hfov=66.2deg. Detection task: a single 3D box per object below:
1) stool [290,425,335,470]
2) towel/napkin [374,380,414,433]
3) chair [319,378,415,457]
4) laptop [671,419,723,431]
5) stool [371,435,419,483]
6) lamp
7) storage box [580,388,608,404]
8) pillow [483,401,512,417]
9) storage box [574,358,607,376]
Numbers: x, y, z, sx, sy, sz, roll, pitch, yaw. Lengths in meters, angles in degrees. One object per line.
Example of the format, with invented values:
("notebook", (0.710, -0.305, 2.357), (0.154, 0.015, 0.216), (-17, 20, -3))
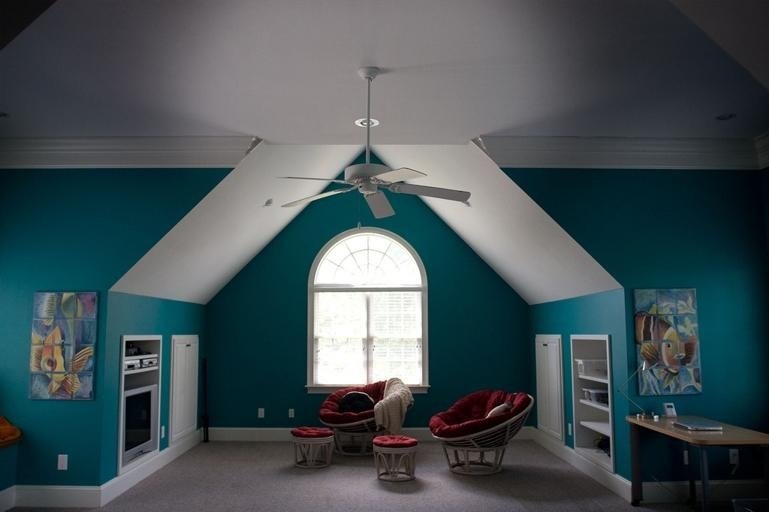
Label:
("stool", (-0.927, 2.426, 7.582), (0.521, 0.452, 0.584), (0, -2, -7))
("towel/napkin", (0.066, 1.969, 7.908), (0.524, 0.264, 0.739), (-2, 10, -18))
("chair", (-0.168, 2.145, 8.024), (1.167, 0.803, 1.108), (-15, -24, 35))
("laptop", (2.988, 1.606, 5.592), (0.397, 0.041, 0.320), (-1, -2, 13))
("stool", (0.132, 2.420, 7.072), (0.520, 0.412, 0.499), (1, -14, -2))
("lamp", (-0.132, -1.097, 5.308), (1.709, 1.059, 1.546), (0, 1, -6))
("storage box", (2.561, 1.701, 7.160), (0.262, 0.079, 0.252), (2, -4, 2))
("pillow", (1.383, 1.804, 7.148), (0.282, 0.074, 0.282), (-11, -15, -8))
("storage box", (2.547, 1.376, 7.251), (0.401, 0.209, 0.283), (-2, -3, 35))
